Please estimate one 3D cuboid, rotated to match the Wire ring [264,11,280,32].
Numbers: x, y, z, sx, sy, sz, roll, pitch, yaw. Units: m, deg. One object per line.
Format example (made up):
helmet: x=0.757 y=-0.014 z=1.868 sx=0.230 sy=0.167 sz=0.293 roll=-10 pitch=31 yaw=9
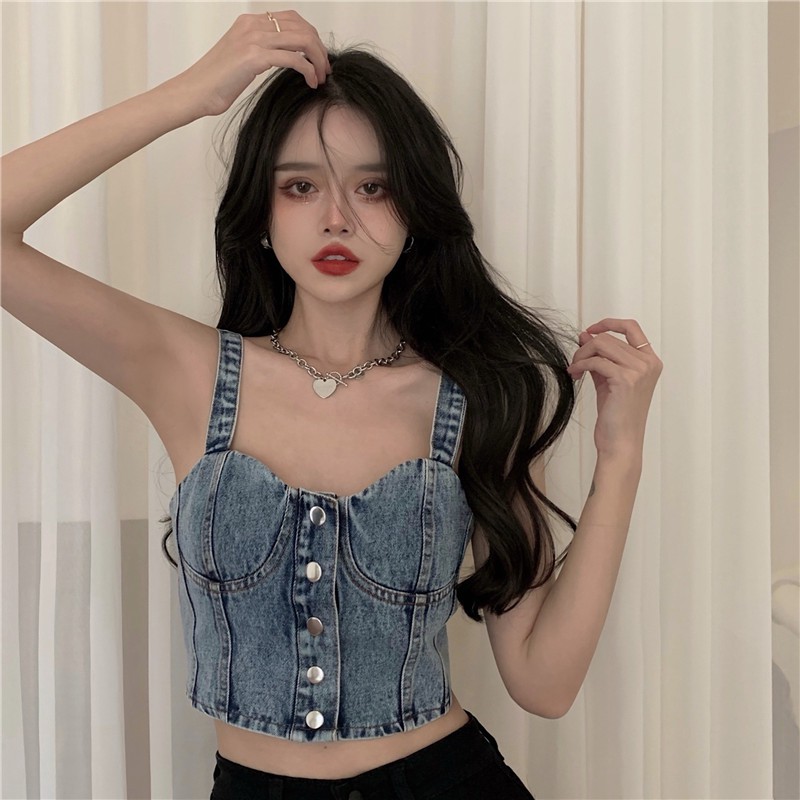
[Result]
Wire ring: x=-0.226 y=-0.681 z=2.030 sx=0.023 sy=0.042 sz=0.026 roll=-1 pitch=-3 yaw=-36
